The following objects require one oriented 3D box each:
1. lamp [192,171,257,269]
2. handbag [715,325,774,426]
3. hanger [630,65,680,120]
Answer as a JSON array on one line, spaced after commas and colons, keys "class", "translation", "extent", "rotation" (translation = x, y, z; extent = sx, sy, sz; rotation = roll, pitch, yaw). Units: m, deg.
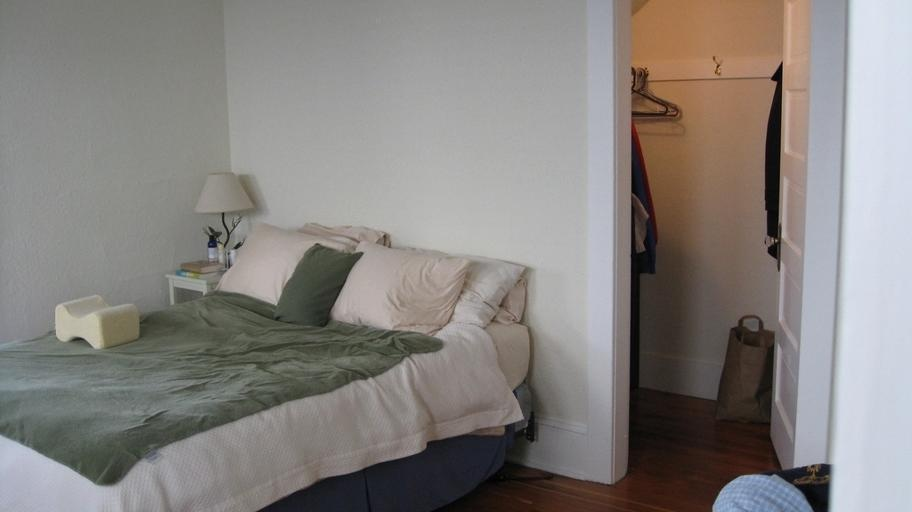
[{"class": "lamp", "translation": [-1.958, -0.298, 5.445], "extent": [0.499, 0.760, 0.459], "rotation": [0, 7, -8]}, {"class": "handbag", "translation": [2.193, 0.897, 4.882], "extent": [0.361, 0.668, 0.291], "rotation": [5, 13, 22]}, {"class": "hanger", "translation": [1.596, -1.305, 5.134], "extent": [0.642, 0.408, 0.131], "rotation": [4, 14, 38]}]
